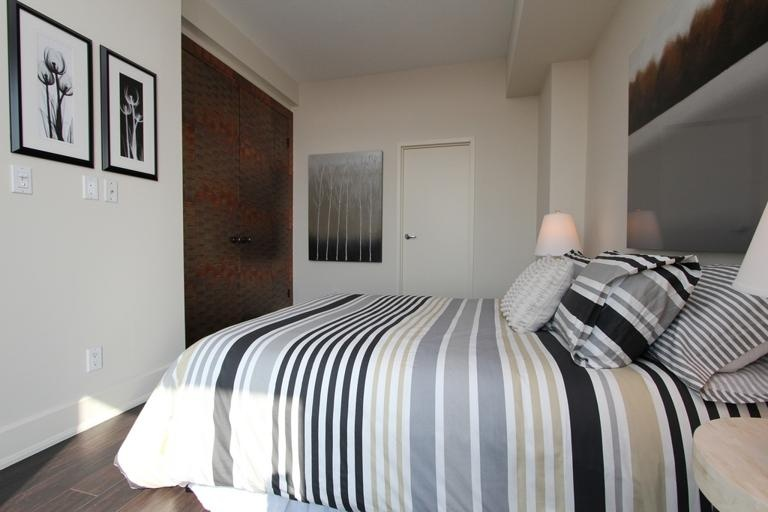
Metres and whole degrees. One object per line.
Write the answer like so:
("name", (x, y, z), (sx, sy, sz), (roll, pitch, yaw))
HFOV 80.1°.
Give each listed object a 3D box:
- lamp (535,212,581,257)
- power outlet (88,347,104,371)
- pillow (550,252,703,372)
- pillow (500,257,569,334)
("lamp", (1.433, -0.157, 3.855), (0.382, 0.447, 0.405), (0, 0, 19))
("power outlet", (-1.949, 0.692, 3.066), (0.014, 0.152, 0.103), (3, 6, 33))
("pillow", (1.234, 0.268, 2.663), (0.496, 0.562, 0.876), (1, 6, 3))
("pillow", (0.978, 0.216, 2.925), (0.275, 0.439, 0.565), (15, -2, 2))
